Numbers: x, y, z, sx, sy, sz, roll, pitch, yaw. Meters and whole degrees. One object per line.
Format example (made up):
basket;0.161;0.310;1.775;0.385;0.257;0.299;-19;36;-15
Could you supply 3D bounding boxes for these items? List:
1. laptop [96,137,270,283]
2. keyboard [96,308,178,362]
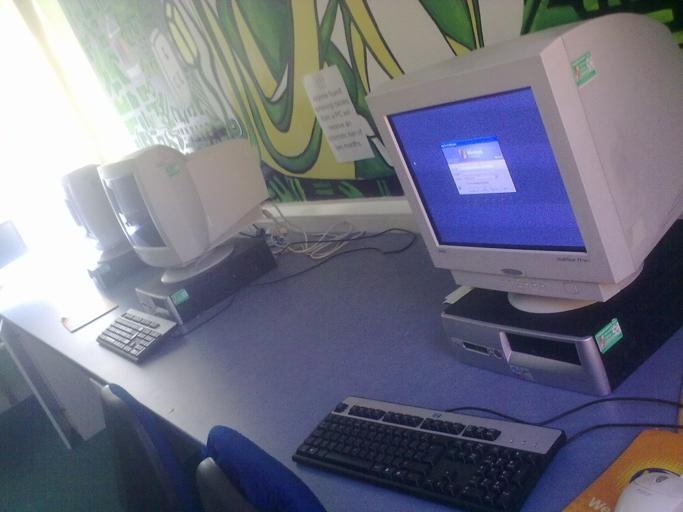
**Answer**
laptop;-0.632;-0.232;2.080;0.570;0.439;0.486;-27;21;-29
keyboard;-0.796;0.272;1.848;0.048;0.294;0.169;30;75;22
